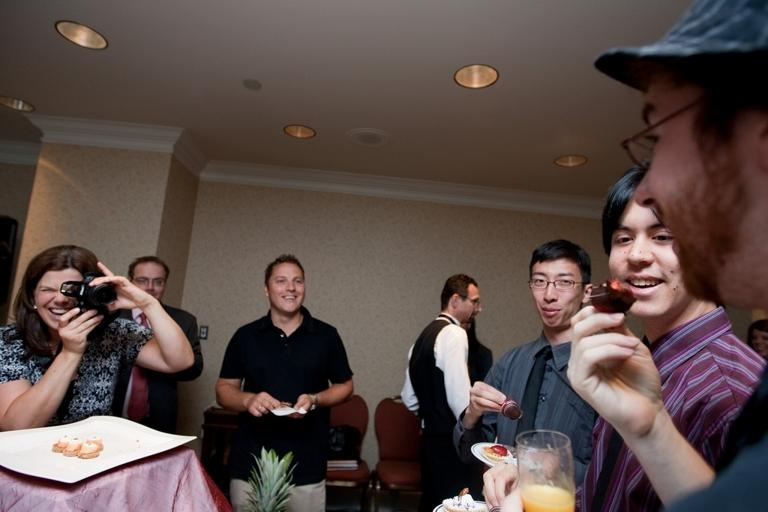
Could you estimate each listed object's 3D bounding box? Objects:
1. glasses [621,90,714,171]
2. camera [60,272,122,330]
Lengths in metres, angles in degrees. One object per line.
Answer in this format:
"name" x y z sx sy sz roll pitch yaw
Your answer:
"glasses" 0.722 -0.320 1.394 0.144 0.039 0.140 -44 -17 17
"camera" -1.381 0.188 2.565 0.180 0.147 0.243 4 21 35
